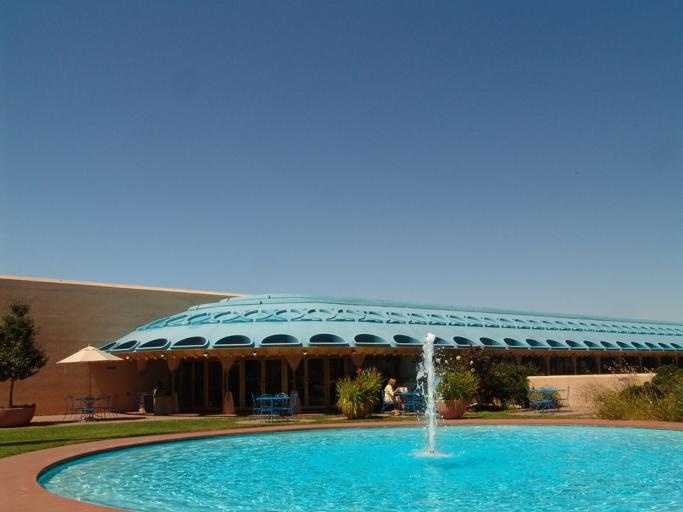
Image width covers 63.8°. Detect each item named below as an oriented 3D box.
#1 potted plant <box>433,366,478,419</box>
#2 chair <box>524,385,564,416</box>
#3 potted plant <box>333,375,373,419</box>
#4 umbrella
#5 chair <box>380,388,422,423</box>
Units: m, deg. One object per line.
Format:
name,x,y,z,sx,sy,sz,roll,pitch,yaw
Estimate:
potted plant,4.999,6.362,24.693,1.974,1.795,1.897,-2,-19,9
chair,10.220,7.310,27.741,1.893,0.957,1.728,-1,-5,8
potted plant,0.609,6.469,24.813,1.494,1.322,1.674,8,-11,-42
umbrella,-12.974,6.274,28.318,3.527,3.309,3.230,-10,-13,19
chair,3.323,7.618,27.134,2.298,0.944,1.549,-6,-12,37
